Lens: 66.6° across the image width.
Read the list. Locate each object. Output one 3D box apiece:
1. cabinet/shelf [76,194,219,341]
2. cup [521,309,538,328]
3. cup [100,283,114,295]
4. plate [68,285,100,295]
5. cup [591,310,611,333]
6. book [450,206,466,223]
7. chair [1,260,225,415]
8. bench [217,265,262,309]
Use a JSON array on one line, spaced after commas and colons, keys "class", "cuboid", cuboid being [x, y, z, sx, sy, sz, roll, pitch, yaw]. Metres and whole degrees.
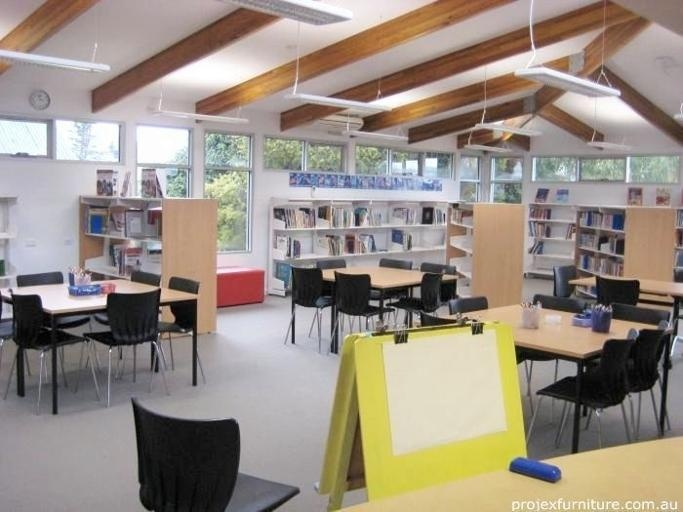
[{"class": "cabinet/shelf", "cuboid": [-2.298, 0.134, 6.280, 0.669, 1.541, 1.988, 0, 1, -35]}, {"class": "cup", "cuboid": [1.569, 0.504, 4.242, 0.180, 0.164, 0.088, -2, 9, -18]}, {"class": "cup", "cuboid": [-2.355, 0.329, 5.246, 0.156, 0.095, 0.157, 2, -2, 0]}, {"class": "plate", "cuboid": [-2.493, 0.336, 5.052, 0.183, 0.055, 0.134, 0, 0, -40]}, {"class": "cup", "cuboid": [2.073, 0.526, 4.148, 0.169, 0.180, 0.156, 2, -1, 0]}, {"class": "book", "cuboid": [2.086, -0.724, 9.393, 0.247, 0.264, 0.156, 3, 9, 11]}, {"class": "chair", "cuboid": [-2.426, 0.764, 5.221, 1.476, 1.029, 1.512, -6, 11, -41]}, {"class": "bench", "cuboid": [-1.832, 0.521, 8.918, 0.662, 0.431, 0.659, -4, 5, -38]}]
